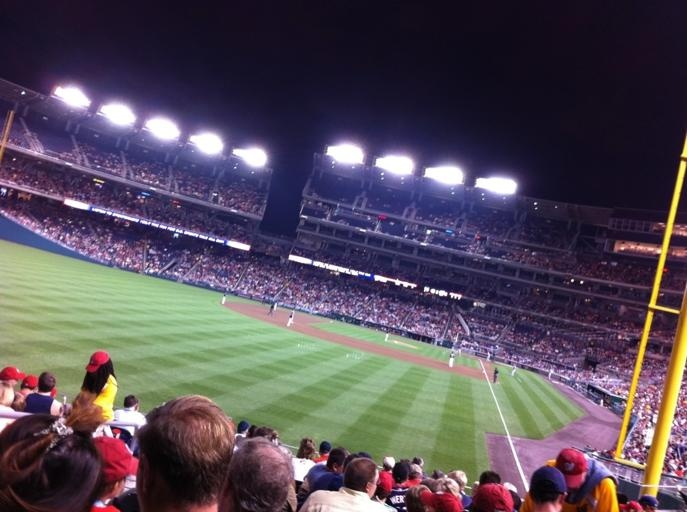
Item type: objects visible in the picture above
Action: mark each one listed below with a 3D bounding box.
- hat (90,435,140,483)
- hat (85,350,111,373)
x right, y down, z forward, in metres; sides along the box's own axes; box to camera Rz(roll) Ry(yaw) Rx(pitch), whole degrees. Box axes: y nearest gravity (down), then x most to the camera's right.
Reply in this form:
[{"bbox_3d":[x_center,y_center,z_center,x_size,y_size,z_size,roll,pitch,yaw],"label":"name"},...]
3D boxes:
[{"bbox_3d":[-3.088,2.728,6.669,0.516,0.620,0.366,12,-1,24],"label":"hat"},{"bbox_3d":[-4.928,2.126,10.064,0.362,0.473,0.265,13,-1,-18],"label":"hat"}]
